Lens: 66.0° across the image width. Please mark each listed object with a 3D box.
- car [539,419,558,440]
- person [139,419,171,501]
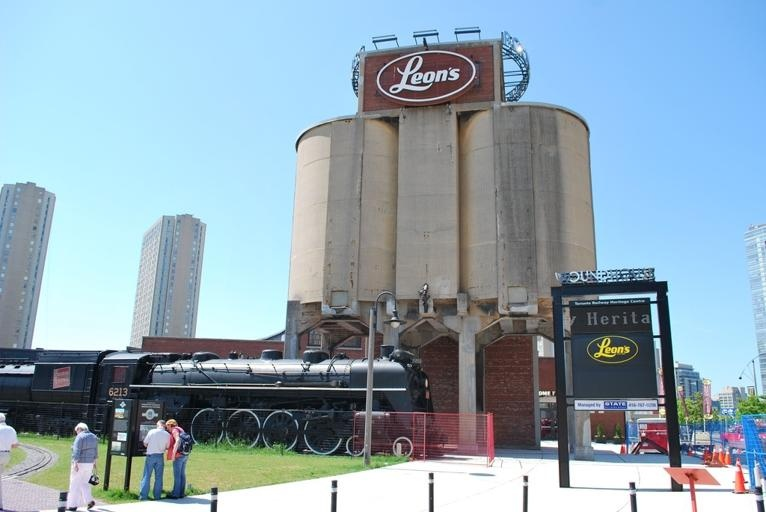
[{"bbox_3d":[14.951,15.628,53.136,1.211,1.749,3.031,-2,-15,11],"label":"car"},{"bbox_3d":[-7.651,6.798,19.717,0.820,2.483,1.414,7,-17,-20],"label":"person"}]
